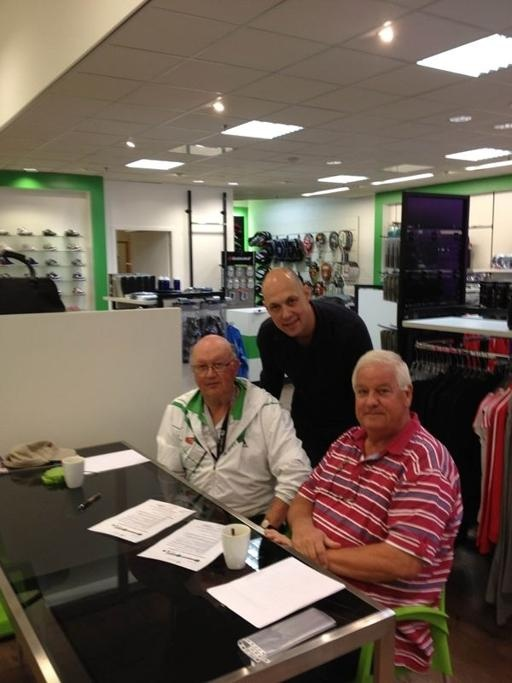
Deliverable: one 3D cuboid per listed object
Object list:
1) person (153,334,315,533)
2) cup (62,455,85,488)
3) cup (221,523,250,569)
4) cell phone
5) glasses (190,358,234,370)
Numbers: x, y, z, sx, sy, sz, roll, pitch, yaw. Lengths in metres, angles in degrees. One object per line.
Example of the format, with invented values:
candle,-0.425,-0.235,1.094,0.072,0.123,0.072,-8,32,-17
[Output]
person,-0.138,0.393,2.015,0.685,0.775,0.599,-3,6,24
cup,-0.650,0.465,1.797,0.073,0.101,0.109,-2,0,3
cup,-0.045,0.477,1.179,0.068,0.074,0.069,-2,-2,0
cell phone,0.059,0.517,0.902,0.208,0.019,0.079,-4,3,-42
glasses,-0.173,0.095,1.989,0.159,0.034,0.071,-2,2,-4
